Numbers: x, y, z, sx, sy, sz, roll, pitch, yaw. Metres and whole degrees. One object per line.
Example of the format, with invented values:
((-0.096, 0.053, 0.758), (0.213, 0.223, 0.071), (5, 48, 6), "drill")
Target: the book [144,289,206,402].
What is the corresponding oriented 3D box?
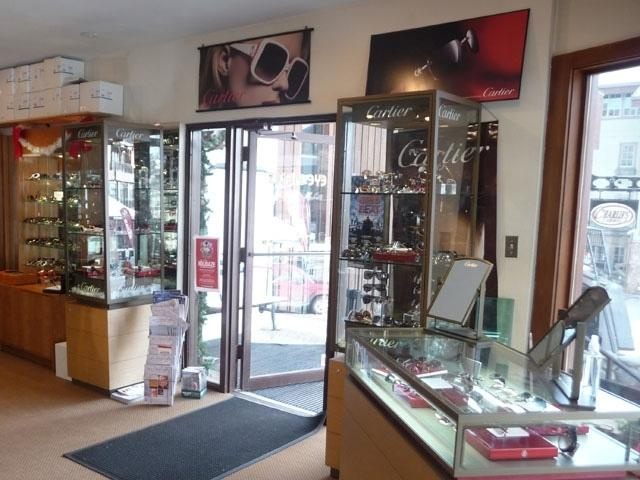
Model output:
((-1.482, 1.040, 5.032), (0.387, 1.018, 0.426), (1, 9, -4), "book")
